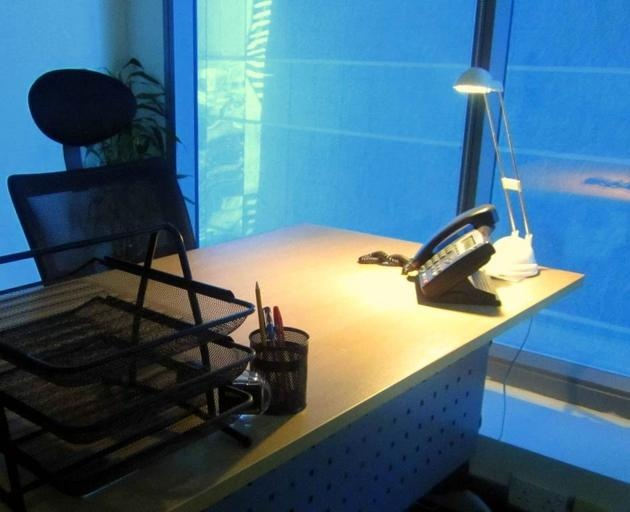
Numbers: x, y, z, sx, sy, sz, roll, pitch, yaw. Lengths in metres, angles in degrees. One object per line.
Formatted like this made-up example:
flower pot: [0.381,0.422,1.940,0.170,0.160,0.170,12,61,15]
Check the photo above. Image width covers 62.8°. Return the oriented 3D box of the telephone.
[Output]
telephone: [0.422,-0.003,1.636,0.244,0.326,0.329,-4,6,6]
